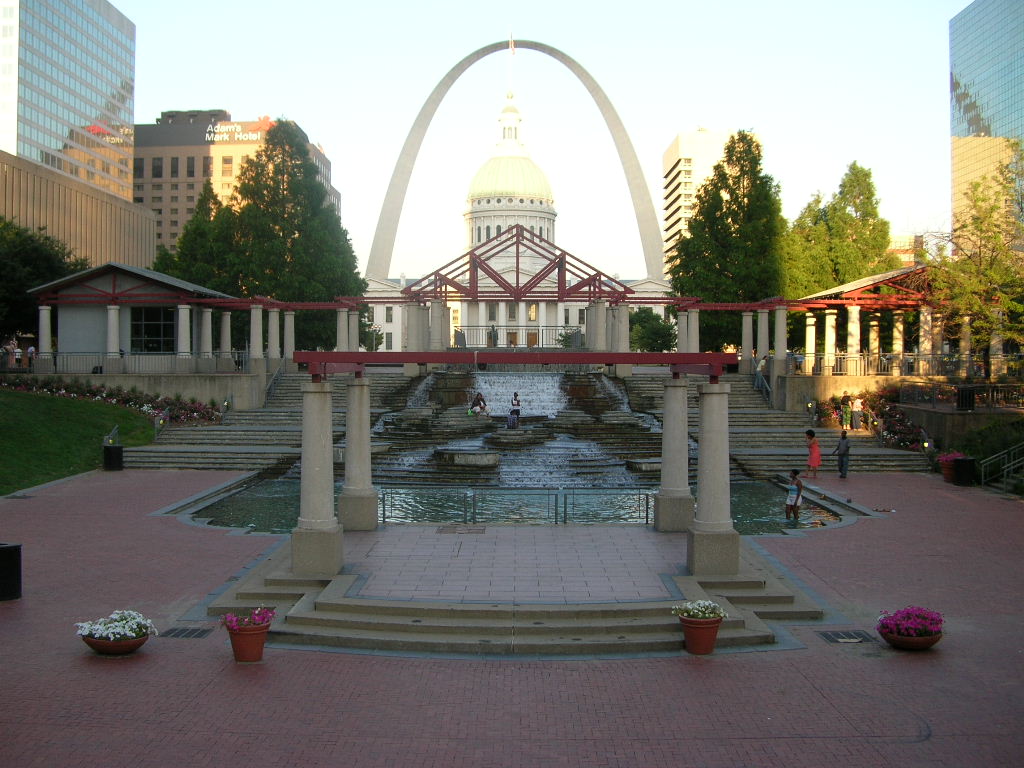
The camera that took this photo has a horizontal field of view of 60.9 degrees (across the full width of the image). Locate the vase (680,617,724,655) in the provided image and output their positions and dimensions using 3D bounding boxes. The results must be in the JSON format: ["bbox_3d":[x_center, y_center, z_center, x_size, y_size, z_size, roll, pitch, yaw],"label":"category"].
[{"bbox_3d":[2.907,3.880,13.402,0.622,0.412,0.587,0,-6,-3],"label":"vase"}]

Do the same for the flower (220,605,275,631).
[{"bbox_3d":[-4.105,3.650,13.483,0.686,0.223,0.671,-2,-4,25],"label":"flower"}]

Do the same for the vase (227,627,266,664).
[{"bbox_3d":[-3.895,3.819,12.865,0.595,0.391,0.541,0,-9,-2],"label":"vase"}]

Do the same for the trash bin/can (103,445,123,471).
[{"bbox_3d":[-13.977,2.590,30.546,0.856,0.763,0.820,-2,6,-30],"label":"trash bin/can"}]

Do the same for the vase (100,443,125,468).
[{"bbox_3d":[-14.075,2.548,30.722,0.857,0.774,0.825,-3,7,-30],"label":"vase"}]

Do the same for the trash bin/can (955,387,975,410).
[{"bbox_3d":[16.665,0.510,32.022,0.523,0.886,0.761,3,6,20],"label":"trash bin/can"}]

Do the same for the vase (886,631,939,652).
[{"bbox_3d":[6.184,3.983,13.542,0.759,0.321,0.428,3,5,18],"label":"vase"}]

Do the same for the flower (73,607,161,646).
[{"bbox_3d":[-5.942,3.654,13.048,0.795,0.299,0.735,-1,-5,9],"label":"flower"}]
